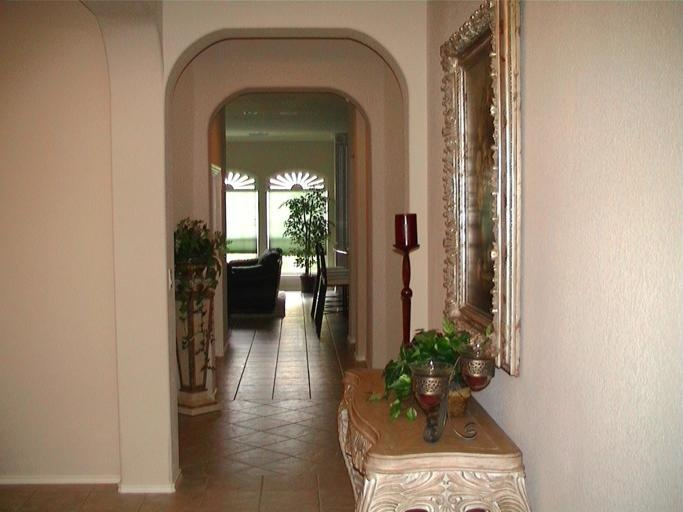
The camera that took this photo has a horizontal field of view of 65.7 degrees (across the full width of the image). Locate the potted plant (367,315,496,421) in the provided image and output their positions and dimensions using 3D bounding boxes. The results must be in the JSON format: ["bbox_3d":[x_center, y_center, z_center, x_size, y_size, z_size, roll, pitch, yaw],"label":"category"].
[{"bbox_3d":[0.367,0.460,2.339,0.404,0.225,0.415,-9,0,2],"label":"potted plant"}]

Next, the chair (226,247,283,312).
[{"bbox_3d":[-1.616,0.488,9.962,0.991,1.157,1.144,0,5,-2],"label":"chair"}]

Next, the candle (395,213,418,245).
[{"bbox_3d":[0.370,-0.148,3.022,0.126,0.187,0.182,1,5,8],"label":"candle"}]

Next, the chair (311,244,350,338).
[{"bbox_3d":[-0.215,0.635,9.399,0.482,1.137,1.358,-1,6,-4],"label":"chair"}]
